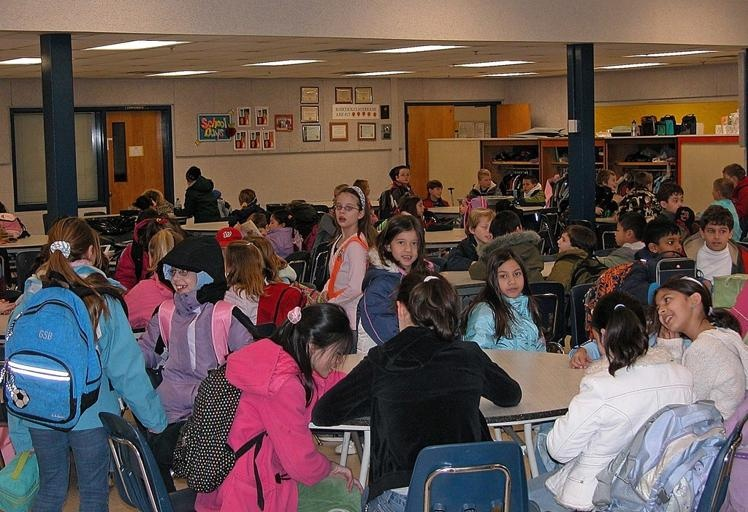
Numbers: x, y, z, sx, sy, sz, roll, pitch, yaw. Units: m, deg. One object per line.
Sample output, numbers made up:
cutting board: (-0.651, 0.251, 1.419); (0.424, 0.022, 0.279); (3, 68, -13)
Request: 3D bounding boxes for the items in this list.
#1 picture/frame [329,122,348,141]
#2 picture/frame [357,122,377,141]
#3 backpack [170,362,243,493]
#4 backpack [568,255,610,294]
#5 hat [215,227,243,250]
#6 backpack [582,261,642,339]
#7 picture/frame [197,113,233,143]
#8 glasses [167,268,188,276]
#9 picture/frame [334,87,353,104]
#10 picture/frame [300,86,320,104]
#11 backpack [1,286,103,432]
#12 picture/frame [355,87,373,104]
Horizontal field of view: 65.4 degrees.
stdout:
picture/frame: (-0.921, -3.132, 14.526); (0.453, 0.448, 0.035); (-6, 14, -20)
picture/frame: (-0.226, -3.198, 14.821); (0.447, 0.396, 0.044); (-3, 7, -24)
backpack: (-0.700, 0.726, 2.437); (0.214, 0.522, 0.335); (-3, 5, -34)
backpack: (1.907, 0.170, 5.171); (0.299, 0.149, 0.359); (-22, 8, -36)
hat: (-1.277, -0.160, 5.107); (0.244, 0.198, 0.356); (-8, 10, -8)
backpack: (1.440, 0.258, 3.524); (0.280, 0.392, 0.519); (17, -3, -14)
picture/frame: (-3.686, -2.953, 13.252); (0.663, 0.508, 0.043); (-5, 7, -29)
glasses: (-0.993, 0.077, 2.915); (0.147, 0.044, 0.038); (4, 6, 42)
picture/frame: (-0.786, -3.994, 14.392); (0.426, 0.380, 0.065); (-3, 5, -25)
picture/frame: (-1.592, -3.898, 14.019); (0.417, 0.365, 0.057); (-6, 8, -28)
backpack: (-1.446, 0.444, 2.598); (0.356, 0.604, 0.203); (1, 5, 19)
picture/frame: (-0.291, -4.055, 14.583); (0.422, 0.371, 0.058); (-2, 4, -22)
